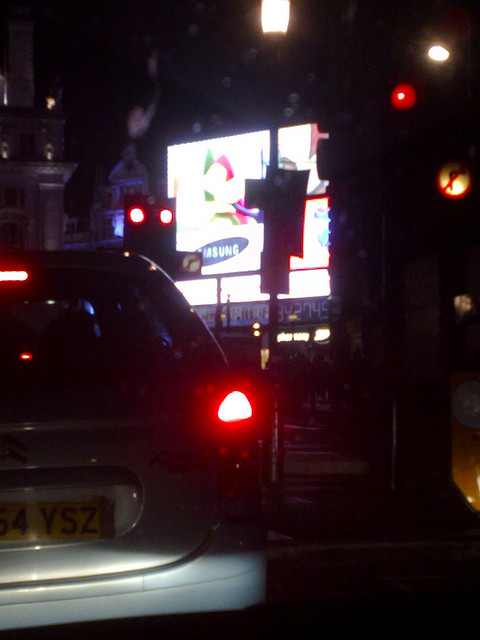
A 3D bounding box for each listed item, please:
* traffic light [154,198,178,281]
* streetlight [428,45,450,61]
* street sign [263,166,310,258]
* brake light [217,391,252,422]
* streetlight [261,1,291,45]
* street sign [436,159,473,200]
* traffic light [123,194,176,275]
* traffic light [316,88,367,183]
[{"bbox_3d":[-0.833,-0.868,9.117,0.249,1.299,0.099,0,-33,-6],"label":"traffic light"},{"bbox_3d":[1.467,-1.958,5.909,0.163,0.141,0.062,-1,-4,-6],"label":"streetlight"},{"bbox_3d":[0.476,-1.157,8.321,0.489,0.968,0.370,-1,-4,1],"label":"street sign"},{"bbox_3d":[-0.020,0.295,2.760,0.035,0.102,0.140,-4,-5,40],"label":"brake light"},{"bbox_3d":[0.464,-4.049,10.750,0.345,0.438,0.297,-1,-4,-3],"label":"streetlight"},{"bbox_3d":[1.386,-0.909,5.289,0.206,0.260,0.265,3,-37,8],"label":"street sign"},{"bbox_3d":[-1.005,-0.988,9.033,0.556,0.892,0.466,0,-4,-8],"label":"traffic light"},{"bbox_3d":[0.867,-1.614,7.064,0.405,0.846,0.079,3,25,11],"label":"traffic light"}]
